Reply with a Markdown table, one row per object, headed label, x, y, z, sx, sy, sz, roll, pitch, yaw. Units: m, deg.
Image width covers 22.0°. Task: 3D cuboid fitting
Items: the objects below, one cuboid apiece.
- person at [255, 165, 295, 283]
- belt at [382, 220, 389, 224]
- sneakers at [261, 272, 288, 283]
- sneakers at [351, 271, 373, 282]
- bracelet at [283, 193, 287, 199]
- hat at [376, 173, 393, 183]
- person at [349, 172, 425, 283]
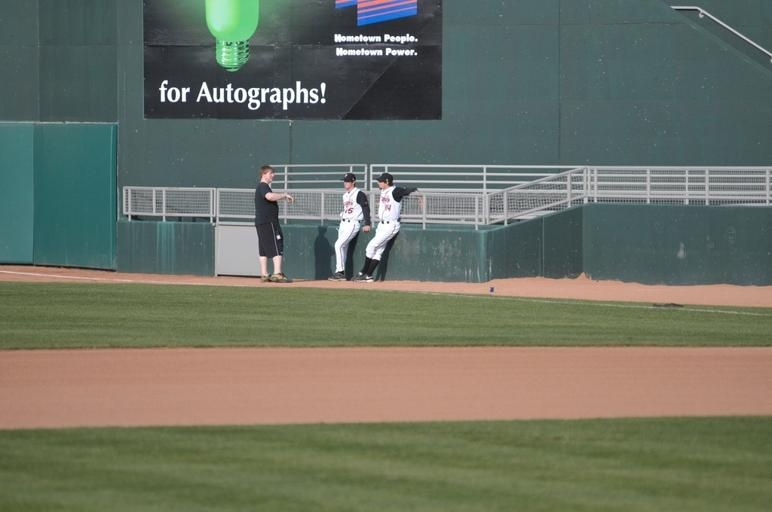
| label | x | y | z | sx | sy | sz | roll | pitch | yaw |
| --- | --- | --- | --- | --- | --- | --- | --- | --- | --- |
| person | -2.880 | -0.807 | 50.030 | 0.814 | 2.858 | 1.077 | 0 | 1 | 0 |
| belt | -0.034 | -0.866 | 50.397 | 0.162 | 0.069 | 0.012 | -4 | -5 | 9 |
| sneakers | -2.842 | 0.525 | 50.567 | 0.576 | 0.217 | 0.280 | -1 | 2 | 6 |
| sneakers | -0.635 | 0.513 | 50.671 | 0.524 | 0.232 | 0.211 | 4 | 3 | 11 |
| bracelet | -2.550 | -1.515 | 50.073 | 0.085 | 0.198 | 0.254 | 0 | -18 | -6 |
| hat | -0.069 | -1.959 | 50.634 | 0.360 | 0.199 | 0.265 | 18 | 8 | 4 |
| person | -0.071 | -0.734 | 50.676 | 1.333 | 2.729 | 0.879 | 0 | 1 | -2 |
